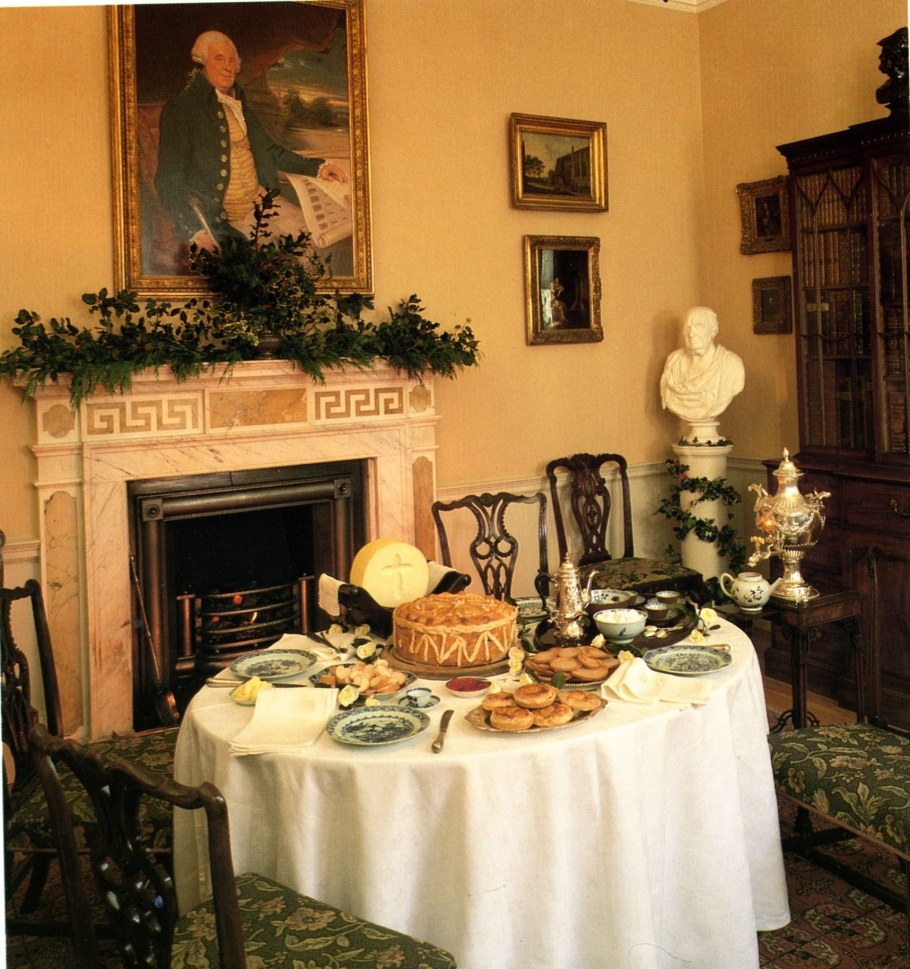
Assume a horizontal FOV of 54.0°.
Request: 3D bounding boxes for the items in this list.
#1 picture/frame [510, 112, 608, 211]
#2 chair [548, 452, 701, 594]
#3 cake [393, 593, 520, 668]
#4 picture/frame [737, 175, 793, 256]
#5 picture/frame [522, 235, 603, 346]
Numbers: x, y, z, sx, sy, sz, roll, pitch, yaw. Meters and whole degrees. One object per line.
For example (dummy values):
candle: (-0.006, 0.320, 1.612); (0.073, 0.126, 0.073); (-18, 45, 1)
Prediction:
picture/frame: (0.532, -1.620, 4.501); (0.601, 0.416, 0.036); (-11, 19, -31)
chair: (0.808, 0.170, 4.409); (0.685, 0.645, 1.087); (-3, 3, 5)
cake: (-0.005, 0.341, 2.196); (0.311, 0.106, 0.283); (-2, 11, -26)
picture/frame: (1.598, -1.362, 4.554); (0.038, 0.348, 0.333); (-15, 15, -28)
picture/frame: (0.530, -1.003, 4.563); (0.666, 0.644, 0.072); (-4, 4, -32)
